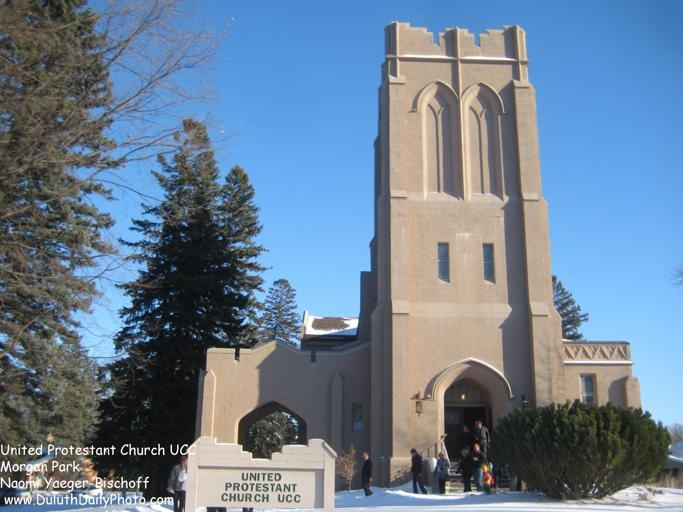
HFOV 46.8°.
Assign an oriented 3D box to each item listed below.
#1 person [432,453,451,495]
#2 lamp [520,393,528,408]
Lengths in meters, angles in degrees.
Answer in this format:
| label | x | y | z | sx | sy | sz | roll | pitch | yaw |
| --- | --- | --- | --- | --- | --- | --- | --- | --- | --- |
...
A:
| label | x | y | z | sx | sy | sz | roll | pitch | yaw |
| --- | --- | --- | --- | --- | --- | --- | --- | --- | --- |
| person | 3.845 | 8.232 | 29.989 | 0.669 | 1.658 | 0.468 | -1 | 11 | -10 |
| lamp | 7.608 | 6.020 | 33.059 | 0.264 | 0.602 | 0.844 | -4 | -16 | 12 |
